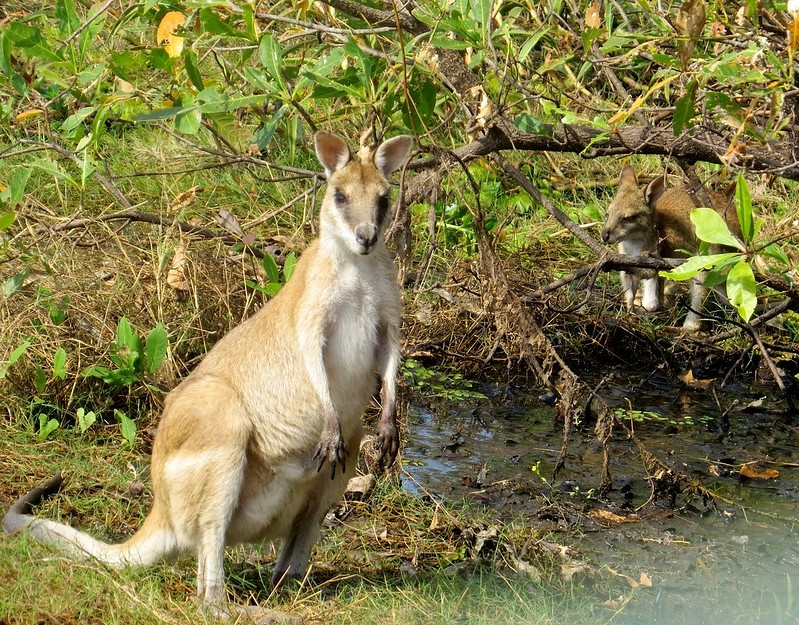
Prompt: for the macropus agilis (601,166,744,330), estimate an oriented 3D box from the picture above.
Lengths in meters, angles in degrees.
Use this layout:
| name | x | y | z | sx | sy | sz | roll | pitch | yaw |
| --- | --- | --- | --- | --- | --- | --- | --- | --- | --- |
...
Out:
| name | x | y | z | sx | sy | sz | roll | pitch | yaw |
| --- | --- | --- | --- | --- | --- | --- | --- | --- | --- |
| macropus agilis | 2.436 | -0.640 | 7.898 | 1.126 | 1.427 | 1.444 | 6 | 5 | 12 |
